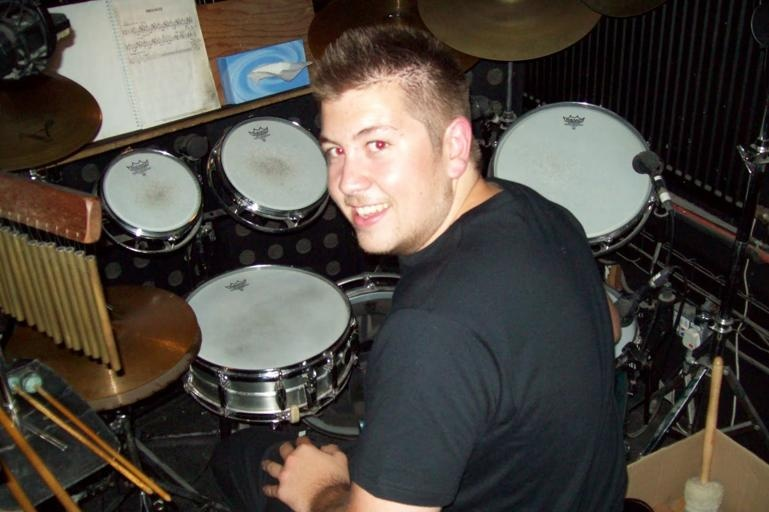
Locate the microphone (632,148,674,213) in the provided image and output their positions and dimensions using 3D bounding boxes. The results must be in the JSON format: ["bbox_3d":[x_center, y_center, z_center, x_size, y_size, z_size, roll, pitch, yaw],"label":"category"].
[{"bbox_3d":[1.355,-0.404,2.997,0.167,0.132,0.344,-6,57,-25],"label":"microphone"}]

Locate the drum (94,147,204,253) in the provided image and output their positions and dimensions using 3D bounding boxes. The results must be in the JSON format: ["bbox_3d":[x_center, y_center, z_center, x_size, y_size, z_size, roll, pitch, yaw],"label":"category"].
[{"bbox_3d":[-1.273,-0.314,3.294,0.523,0.404,0.477,-1,38,1],"label":"drum"}]

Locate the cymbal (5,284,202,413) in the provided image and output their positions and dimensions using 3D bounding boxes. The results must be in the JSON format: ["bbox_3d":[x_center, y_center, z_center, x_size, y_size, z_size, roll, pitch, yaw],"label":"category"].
[{"bbox_3d":[-1.200,0.407,2.579,0.757,0.103,0.604,-20,42,-22],"label":"cymbal"}]
